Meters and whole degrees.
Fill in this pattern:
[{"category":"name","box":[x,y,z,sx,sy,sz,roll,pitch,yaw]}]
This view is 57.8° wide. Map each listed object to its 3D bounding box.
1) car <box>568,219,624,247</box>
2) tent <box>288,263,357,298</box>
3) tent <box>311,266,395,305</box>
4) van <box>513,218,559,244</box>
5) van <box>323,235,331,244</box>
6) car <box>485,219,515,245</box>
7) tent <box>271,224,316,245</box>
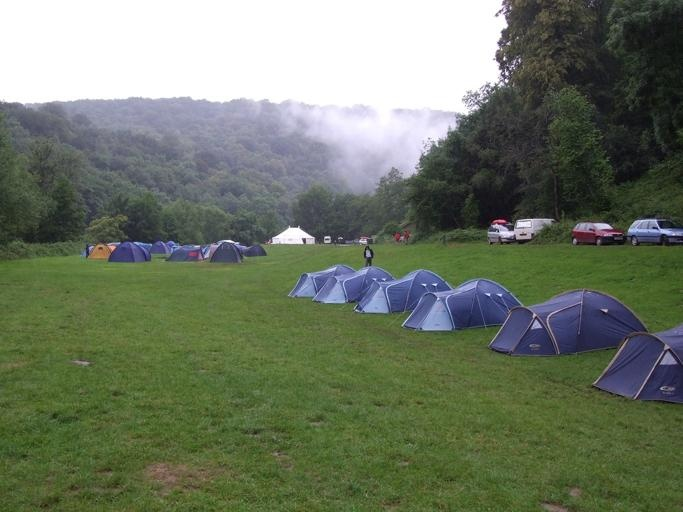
[{"category":"car","box":[17.592,-1.522,41.962,1.425,1.227,2.568,-1,-2,-19]},{"category":"tent","box":[-1.327,1.440,34.054,2.573,1.117,2.006,-16,8,-22]},{"category":"tent","box":[0.516,1.551,31.866,2.889,1.270,2.174,-11,8,-20]},{"category":"van","box":[16.259,-1.992,51.439,2.862,1.613,1.854,-11,8,-33]},{"category":"van","box":[-3.311,-3.460,142.152,1.675,1.689,3.249,-1,9,-1]},{"category":"car","box":[13.891,-1.924,53.012,1.399,1.406,2.524,-1,-1,-14]},{"category":"tent","box":[-10.921,-4.276,136.996,8.039,3.122,9.558,5,5,29]}]
